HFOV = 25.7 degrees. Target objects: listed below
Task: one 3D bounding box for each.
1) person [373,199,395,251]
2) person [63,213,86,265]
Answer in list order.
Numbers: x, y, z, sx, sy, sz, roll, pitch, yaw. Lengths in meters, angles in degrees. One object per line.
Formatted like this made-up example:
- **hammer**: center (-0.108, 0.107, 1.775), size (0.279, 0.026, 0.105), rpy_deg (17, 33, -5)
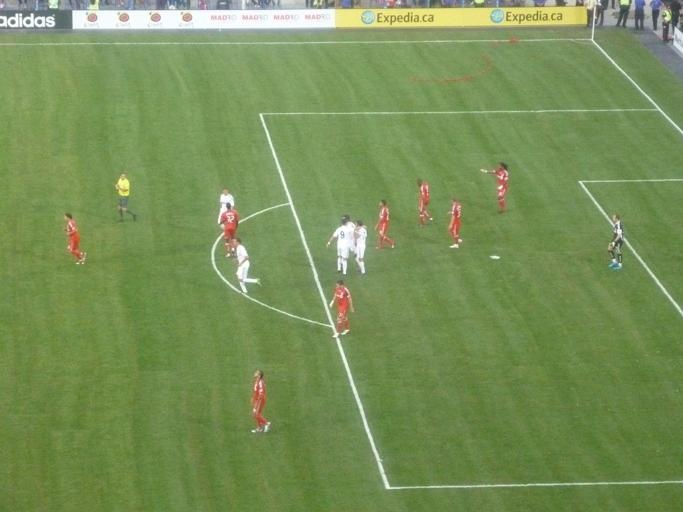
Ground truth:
- **person**: center (2.032, -1.417, 71.844), size (1.307, 2.655, 0.921), rpy_deg (1, 53, 1)
- **person**: center (-12.336, -0.718, 69.563), size (1.331, 2.781, 1.110), rpy_deg (3, 37, -5)
